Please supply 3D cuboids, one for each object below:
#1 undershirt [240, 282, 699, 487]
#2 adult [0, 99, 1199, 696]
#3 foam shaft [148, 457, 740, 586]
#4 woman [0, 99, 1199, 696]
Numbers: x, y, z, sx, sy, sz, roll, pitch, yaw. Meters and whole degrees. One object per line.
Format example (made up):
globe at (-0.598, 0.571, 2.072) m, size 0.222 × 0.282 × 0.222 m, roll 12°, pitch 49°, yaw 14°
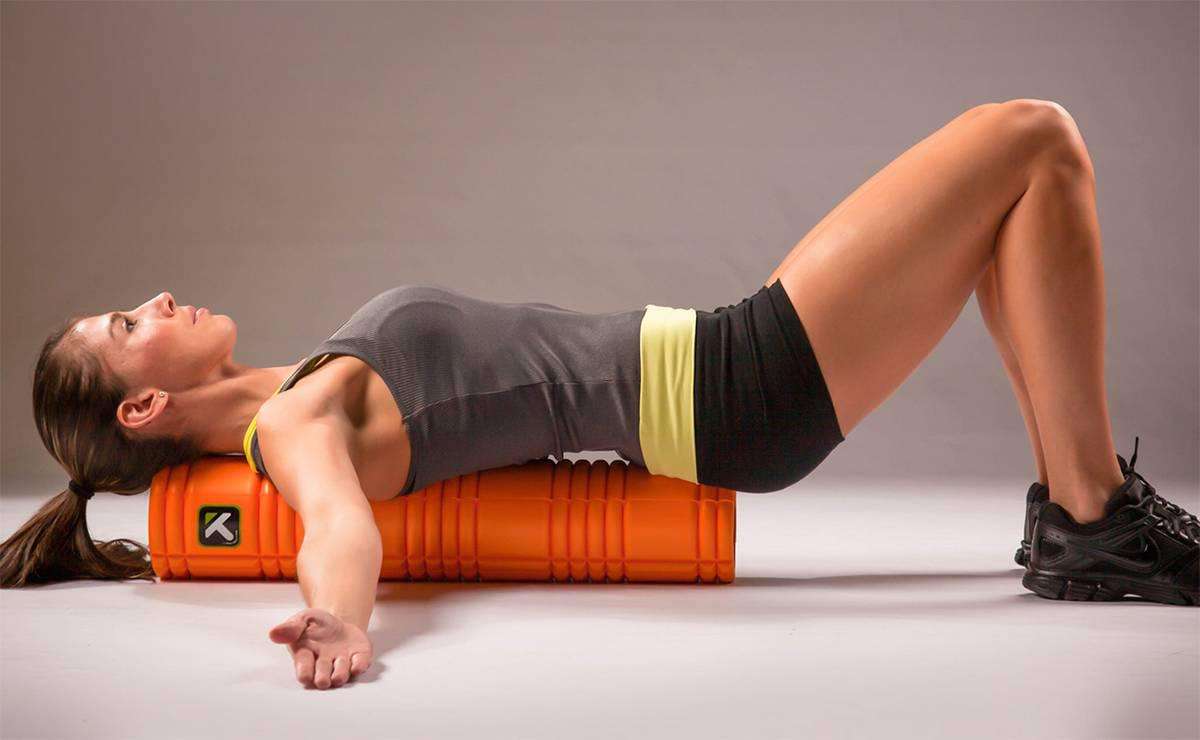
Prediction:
undershirt at (-0.265, -0.018, 3.995) m, size 1.930 × 0.677 × 0.865 m, roll 0°, pitch 0°, yaw -2°
adult at (0.118, 0.006, 3.317) m, size 2.306 × 0.853 × 1.957 m, roll -3°, pitch 1°, yaw 2°
foam shaft at (-0.393, 0.425, 3.172) m, size 1.394 × 0.332 × 0.341 m, roll 1°, pitch 9°, yaw 2°
woman at (0.099, 0.038, 3.373) m, size 2.306 × 0.853 × 1.957 m, roll -3°, pitch 1°, yaw 2°
